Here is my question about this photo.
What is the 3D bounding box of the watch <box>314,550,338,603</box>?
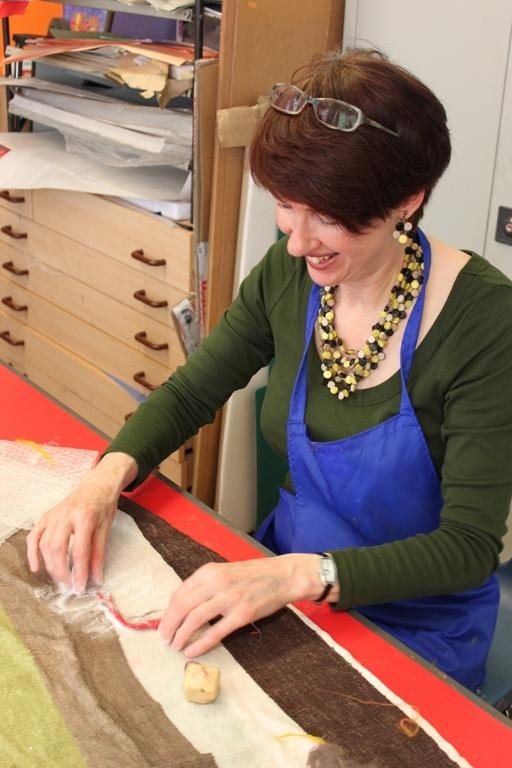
[{"bbox_3d":[0.087,0.233,0.761,0.017,0.047,0.034,10,-10,-14],"label":"watch"}]

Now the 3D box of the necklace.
[{"bbox_3d":[0.190,-0.104,0.990,0.036,0.236,0.172,13,-3,-40],"label":"necklace"}]

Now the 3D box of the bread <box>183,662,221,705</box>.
[{"bbox_3d":[-0.052,0.294,0.616,0.036,0.025,0.038,7,12,-3],"label":"bread"}]
